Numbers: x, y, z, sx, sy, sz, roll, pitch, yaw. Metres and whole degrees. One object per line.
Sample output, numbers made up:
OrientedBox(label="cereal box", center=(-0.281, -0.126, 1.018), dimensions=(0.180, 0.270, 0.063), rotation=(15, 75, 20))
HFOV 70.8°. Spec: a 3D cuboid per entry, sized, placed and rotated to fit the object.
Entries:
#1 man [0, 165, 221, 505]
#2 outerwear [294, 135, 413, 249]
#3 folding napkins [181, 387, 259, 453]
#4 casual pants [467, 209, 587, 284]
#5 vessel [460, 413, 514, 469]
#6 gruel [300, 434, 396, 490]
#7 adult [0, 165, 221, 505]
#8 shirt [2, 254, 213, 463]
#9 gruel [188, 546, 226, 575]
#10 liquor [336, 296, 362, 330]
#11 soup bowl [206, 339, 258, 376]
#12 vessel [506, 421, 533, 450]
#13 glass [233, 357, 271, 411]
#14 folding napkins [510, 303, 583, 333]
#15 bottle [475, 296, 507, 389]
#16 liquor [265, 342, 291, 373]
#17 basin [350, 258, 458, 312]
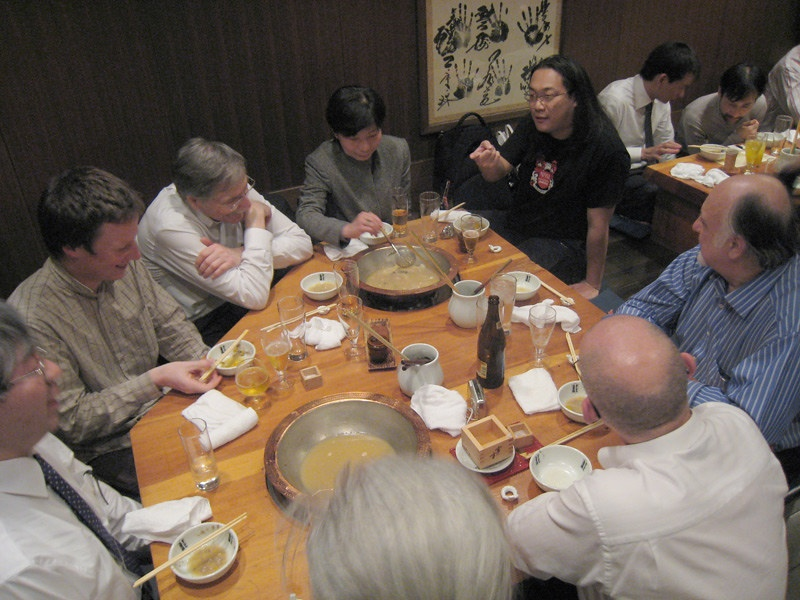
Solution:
OrientedBox(label="man", center=(-1.208, 0.165, 2.447), dimensions=(0.676, 1.606, 0.638), rotation=(4, 44, 1))
OrientedBox(label="outerwear", center=(-0.281, -0.692, 3.643), dimensions=(0.729, 0.726, 0.435), rotation=(-23, 59, -15))
OrientedBox(label="folding napkins", center=(-0.703, 0.455, 2.224), dimensions=(0.212, 0.081, 0.209), rotation=(30, 42, 23))
OrientedBox(label="casual pants", center=(0.928, -0.394, 4.087), dimensions=(0.635, 0.173, 0.634), rotation=(-20, 41, -31))
OrientedBox(label="vessel", center=(0.319, 0.511, 2.051), dimensions=(0.148, 0.093, 0.152), rotation=(-20, 31, -23))
OrientedBox(label="gruel", center=(-0.213, 0.586, 2.109), dimensions=(0.275, 0.050, 0.278), rotation=(-15, 49, -13))
OrientedBox(label="adult", center=(-1.208, 0.165, 2.447), dimensions=(0.676, 1.606, 0.638), rotation=(4, 44, 1))
OrientedBox(label="shirt", center=(-1.239, 0.263, 2.395), dimensions=(0.562, 0.711, 0.552), rotation=(8, 50, 11))
OrientedBox(label="gruel", center=(-0.618, 0.832, 1.809), dimensions=(0.121, 0.015, 0.082), rotation=(-13, 39, -12))
OrientedBox(label="liquor", center=(-0.211, 0.053, 2.570), dimensions=(0.123, 0.146, 0.129), rotation=(-3, 38, -1))
OrientedBox(label="soup bowl", center=(-0.739, 0.250, 2.500), dimensions=(0.162, 0.064, 0.161), rotation=(-4, 47, 4))
OrientedBox(label="vessel", center=(0.454, 0.512, 2.143), dimensions=(0.089, 0.060, 0.092), rotation=(-18, 45, -16))
OrientedBox(label="glass", center=(-0.612, 0.412, 2.318), dimensions=(0.126, 0.136, 0.196), rotation=(-10, 62, -1))
OrientedBox(label="folding napkins", center=(0.690, 0.073, 2.643), dimensions=(0.226, 0.051, 0.152), rotation=(3, 40, 13))
OrientedBox(label="bottle", center=(0.375, 0.161, 2.275), dimensions=(0.120, 0.418, 0.147), rotation=(2, 37, 8))
OrientedBox(label="liquor", center=(-0.520, 0.241, 2.398), dimensions=(0.087, 0.112, 0.091), rotation=(8, 30, 17))
OrientedBox(label="basin", center=(-0.019, -0.034, 2.923), dimensions=(0.501, 0.113, 0.534), rotation=(-8, 13, 2))
